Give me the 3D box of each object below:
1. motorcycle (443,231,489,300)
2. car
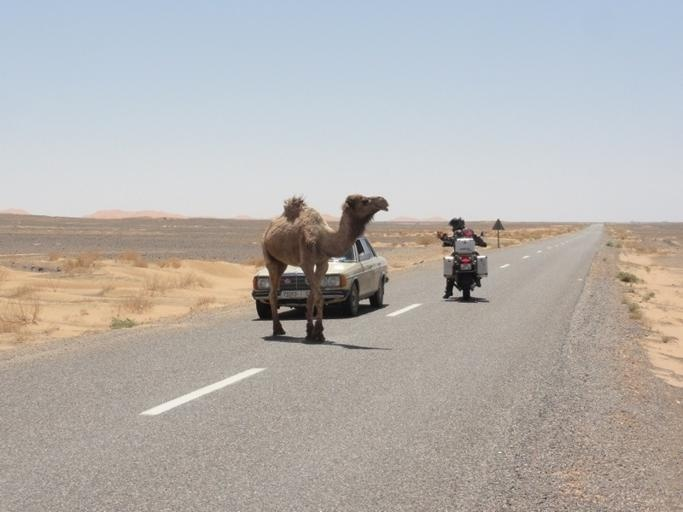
[{"bbox_3d":[3.703,0.216,18.715,1.242,2.177,1.545,1,3,9],"label":"motorcycle"},{"bbox_3d":[-0.026,0.478,15.654,1.800,1.222,3.455,-1,-1,12],"label":"car"}]
